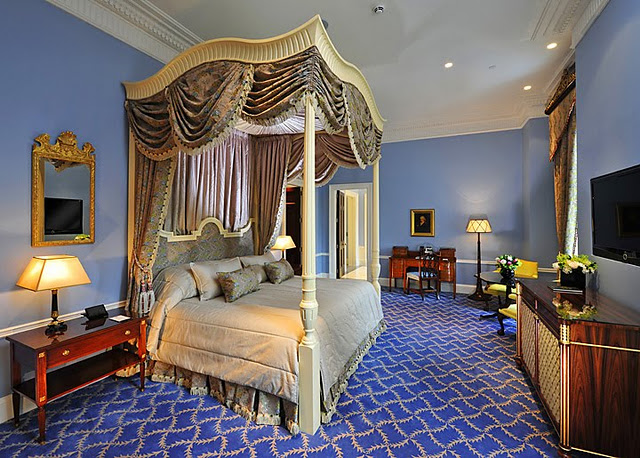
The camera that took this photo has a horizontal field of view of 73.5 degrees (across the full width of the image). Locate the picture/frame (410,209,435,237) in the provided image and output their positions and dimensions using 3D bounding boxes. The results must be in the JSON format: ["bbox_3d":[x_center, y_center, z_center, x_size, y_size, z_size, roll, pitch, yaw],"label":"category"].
[{"bbox_3d":[2.203,-0.128,9.139,0.478,0.666,0.044,1,-1,27],"label":"picture/frame"}]

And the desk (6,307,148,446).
[{"bbox_3d":[-2.747,1.387,4.999,0.904,1.362,1.637,1,2,23],"label":"desk"}]

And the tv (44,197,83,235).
[{"bbox_3d":[-3.053,-0.150,5.064,0.040,0.424,0.386,1,1,42],"label":"tv"}]

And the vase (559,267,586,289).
[{"bbox_3d":[3.046,0.557,5.213,0.276,0.249,0.302,-2,8,-13],"label":"vase"}]

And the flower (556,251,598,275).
[{"bbox_3d":[3.043,0.414,5.105,0.265,0.157,0.294,0,0,5],"label":"flower"}]

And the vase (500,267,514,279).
[{"bbox_3d":[3.028,0.726,6.918,0.208,0.179,0.172,-1,-1,11],"label":"vase"}]

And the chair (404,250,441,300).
[{"bbox_3d":[2.139,0.916,8.789,0.473,1.035,0.542,-1,4,-14],"label":"chair"}]

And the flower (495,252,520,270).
[{"bbox_3d":[3.076,0.561,6.983,0.331,0.267,0.333,-1,-1,14],"label":"flower"}]

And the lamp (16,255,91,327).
[{"bbox_3d":[-3.046,0.716,4.917,0.643,0.895,0.695,6,10,10],"label":"lamp"}]

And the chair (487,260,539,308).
[{"bbox_3d":[3.302,0.982,7.366,0.690,0.941,0.666,-4,9,-7],"label":"chair"}]
